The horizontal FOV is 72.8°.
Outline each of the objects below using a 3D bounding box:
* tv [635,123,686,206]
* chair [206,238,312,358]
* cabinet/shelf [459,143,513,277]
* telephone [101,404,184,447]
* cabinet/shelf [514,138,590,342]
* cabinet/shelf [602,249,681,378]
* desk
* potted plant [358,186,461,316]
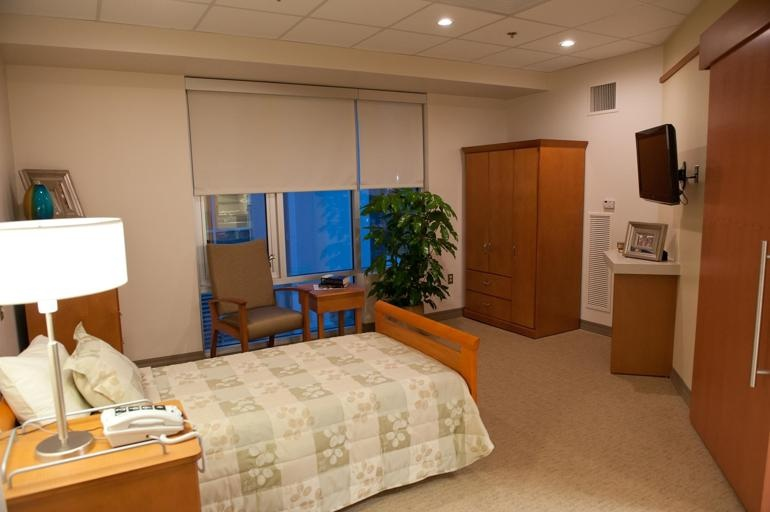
[{"bbox_3d":[2.716,-0.885,5.066,0.250,0.734,0.718,-8,8,6],"label":"tv"},{"bbox_3d":[-1.398,0.515,5.772,1.053,1.325,1.100,-2,9,-13],"label":"chair"},{"bbox_3d":[1.360,-0.616,7.010,0.774,1.671,0.230,0,1,-12],"label":"cabinet/shelf"},{"bbox_3d":[-1.346,0.925,2.905,0.359,0.126,0.220,-7,17,-17],"label":"telephone"},{"bbox_3d":[2.152,-0.276,6.833,0.693,2.409,0.840,-4,11,-10],"label":"cabinet/shelf"},{"bbox_3d":[2.652,0.593,5.332,0.425,0.912,1.226,-1,5,7],"label":"cabinet/shelf"},{"bbox_3d":[-0.640,0.723,6.276,0.691,0.719,0.703,-2,7,-13],"label":"desk"},{"bbox_3d":[0.280,-0.035,6.682,1.164,1.675,0.944,0,14,-2],"label":"potted plant"}]
